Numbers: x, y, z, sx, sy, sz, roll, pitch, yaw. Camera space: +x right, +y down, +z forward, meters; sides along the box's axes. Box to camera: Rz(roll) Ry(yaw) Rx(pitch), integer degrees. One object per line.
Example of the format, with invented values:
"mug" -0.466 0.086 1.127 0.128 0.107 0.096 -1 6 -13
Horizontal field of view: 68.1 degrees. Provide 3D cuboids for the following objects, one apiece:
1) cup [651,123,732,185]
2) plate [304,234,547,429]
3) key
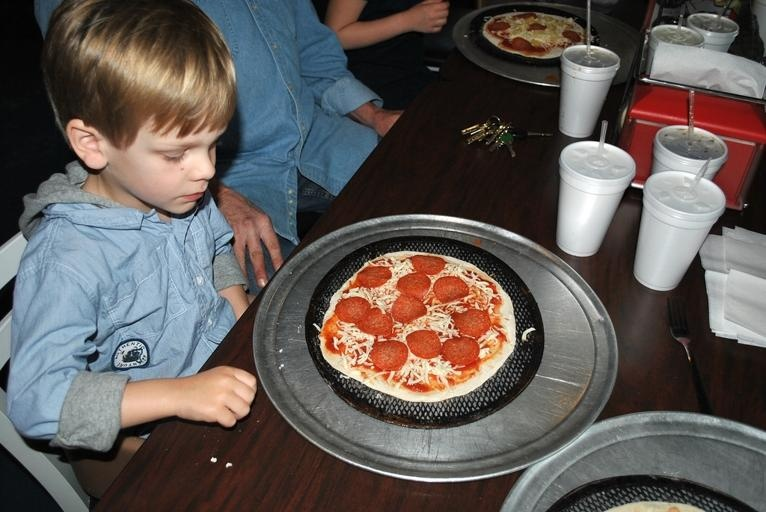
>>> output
"cup" 0.693 -0.218 1.308 0.140 0.105 0.137 -4 46 4
"plate" 0.087 0.139 1.189 0.485 0.078 0.452 -17 47 -10
"key" 0.314 -0.333 1.569 0.192 0.033 0.121 2 46 8
